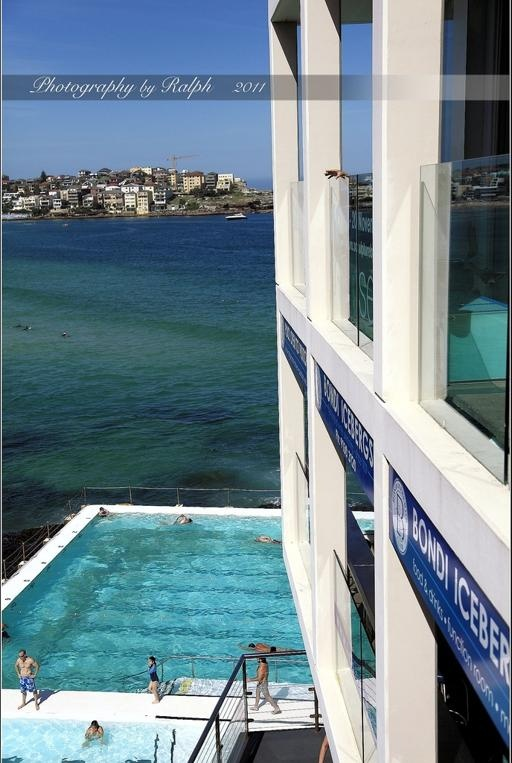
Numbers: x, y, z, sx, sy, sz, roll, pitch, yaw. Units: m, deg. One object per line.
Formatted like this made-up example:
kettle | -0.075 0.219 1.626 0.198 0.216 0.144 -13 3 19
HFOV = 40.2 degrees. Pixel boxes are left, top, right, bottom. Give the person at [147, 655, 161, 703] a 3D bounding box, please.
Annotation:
person | -1.691 4.867 11.575 0.173 0.963 0.720 -1 14 -9

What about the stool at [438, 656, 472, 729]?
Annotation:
stool | 1.191 1.908 4.293 0.172 0.117 0.416 -7 11 5

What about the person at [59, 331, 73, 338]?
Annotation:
person | -17.371 -4.246 63.924 0.699 0.441 0.683 2 29 -5

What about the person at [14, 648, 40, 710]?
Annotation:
person | -3.740 4.814 11.415 0.290 1.078 0.190 -3 16 -9

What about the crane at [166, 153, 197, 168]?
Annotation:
crane | -13.984 -40.233 128.130 1.889 2.549 6.268 -10 20 -39
